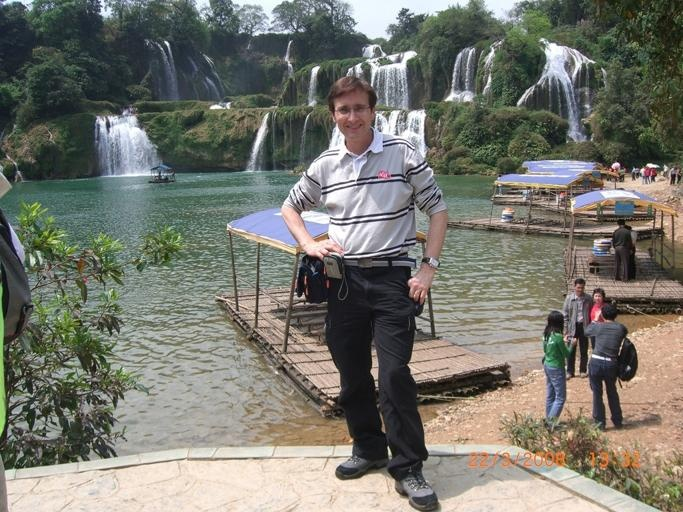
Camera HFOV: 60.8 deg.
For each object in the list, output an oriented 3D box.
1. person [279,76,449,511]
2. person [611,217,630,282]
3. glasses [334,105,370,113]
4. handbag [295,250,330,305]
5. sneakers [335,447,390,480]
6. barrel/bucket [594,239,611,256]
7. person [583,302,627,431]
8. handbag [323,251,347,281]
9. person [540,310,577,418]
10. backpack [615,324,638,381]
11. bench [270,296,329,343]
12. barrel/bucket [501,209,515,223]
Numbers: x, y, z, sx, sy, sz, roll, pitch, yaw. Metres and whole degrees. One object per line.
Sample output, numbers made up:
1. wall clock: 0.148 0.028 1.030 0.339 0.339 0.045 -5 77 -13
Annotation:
1. person: 0.204 0.230 4.636 1.173 3.322 0.618 0 3 14
2. person: 7.730 -0.188 15.981 0.505 1.658 0.626 1 3 26
3. glasses: 0.078 -1.175 4.660 0.282 0.066 0.083 0 3 4
4. handbag: -0.244 0.188 4.731 0.243 0.393 0.226 -1 3 -5
5. sneakers: 0.129 1.733 4.882 0.484 0.228 0.174 0 -2 -21
6. barrel/bucket: 7.523 -0.263 16.783 0.478 0.430 0.472 -1 5 0
7. person: 3.623 1.511 7.983 0.496 1.685 0.594 1 3 23
8. handbag: -0.067 0.077 4.614 0.188 0.254 0.141 -5 14 15
9. person: 2.927 1.477 7.929 0.321 1.431 0.308 0 3 20
10. backpack: 3.836 1.395 7.837 0.199 0.611 0.272 0 3 9
11. bench: -0.896 1.553 12.516 1.358 0.319 1.321 -2 8 -8
12. barrel/bucket: 7.861 -1.925 27.465 0.607 0.638 0.607 -1 9 0
